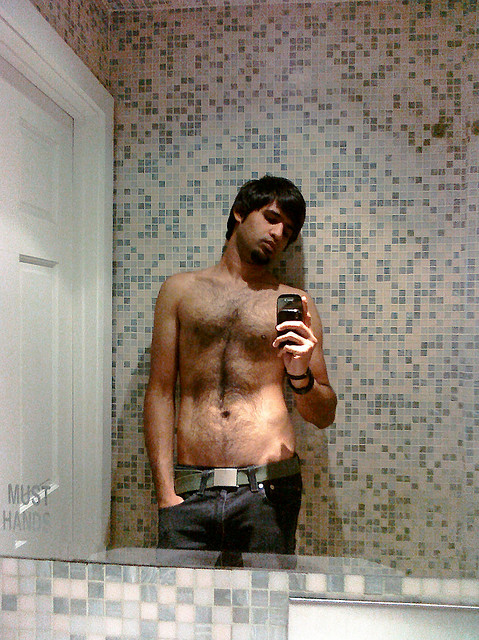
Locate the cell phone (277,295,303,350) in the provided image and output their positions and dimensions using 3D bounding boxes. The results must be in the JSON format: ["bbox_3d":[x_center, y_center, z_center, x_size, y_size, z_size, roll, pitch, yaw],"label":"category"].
[{"bbox_3d":[0.073,0.004,1.231,0.041,0.083,0.019,2,2,10],"label":"cell phone"}]

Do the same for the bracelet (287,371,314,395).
[{"bbox_3d":[0.104,0.098,1.217,0.029,0.036,0.014,-7,-3,25],"label":"bracelet"}]
